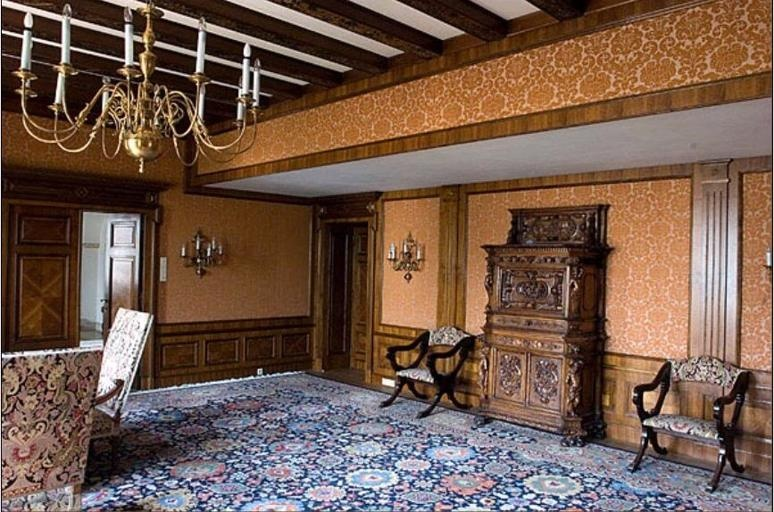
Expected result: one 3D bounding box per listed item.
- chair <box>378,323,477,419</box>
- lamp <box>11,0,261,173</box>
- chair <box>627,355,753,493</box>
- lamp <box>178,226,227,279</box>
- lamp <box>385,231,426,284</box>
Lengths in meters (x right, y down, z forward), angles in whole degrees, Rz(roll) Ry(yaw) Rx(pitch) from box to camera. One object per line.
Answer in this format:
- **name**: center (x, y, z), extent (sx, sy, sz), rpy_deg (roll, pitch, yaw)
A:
- **chair**: center (0.511, 1.651, 7.733), extent (1.334, 1.307, 1.126), rpy_deg (6, -8, -40)
- **lamp**: center (-2.658, -1.787, 5.340), extent (1.679, 1.176, 1.662), rpy_deg (-1, -8, 16)
- **chair**: center (3.281, 1.721, 5.568), extent (0.993, 1.189, 0.968), rpy_deg (4, 4, 35)
- **lamp**: center (-2.951, -0.090, 8.516), extent (0.735, 0.792, 0.704), rpy_deg (-2, -3, 40)
- **lamp**: center (0.327, 0.028, 8.344), extent (0.847, 0.878, 0.298), rpy_deg (-4, -13, 37)
